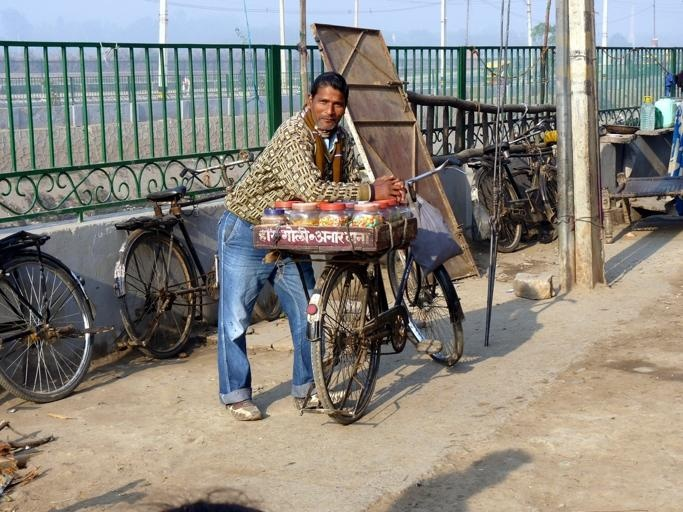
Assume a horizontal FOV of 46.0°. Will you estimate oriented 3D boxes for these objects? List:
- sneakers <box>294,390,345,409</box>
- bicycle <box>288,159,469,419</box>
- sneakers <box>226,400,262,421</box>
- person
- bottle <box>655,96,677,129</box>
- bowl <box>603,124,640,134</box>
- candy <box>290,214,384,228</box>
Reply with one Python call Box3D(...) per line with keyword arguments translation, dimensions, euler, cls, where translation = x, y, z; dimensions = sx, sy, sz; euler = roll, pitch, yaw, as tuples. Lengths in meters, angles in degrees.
Box3D(translation=(-0.165, 1.045, 5.786), dimensions=(0.301, 0.148, 0.179), euler=(-1, -4, 13), cls="sneakers")
Box3D(translation=(0.323, 0.192, 6.207), dimensions=(0.998, 1.386, 2.135), euler=(-2, 13, 23), cls="bicycle")
Box3D(translation=(-0.701, 1.113, 5.821), dimensions=(0.109, 0.128, 0.282), euler=(0, -3, -39), cls="sneakers")
Box3D(translation=(-0.340, -0.050, 5.664), dimensions=(1.178, 2.420, 0.620), euler=(-3, 12, -5), cls="person")
Box3D(translation=(5.994, -2.677, 14.933), dimensions=(0.397, 0.513, 0.378), euler=(-2, 12, 0), cls="bottle")
Box3D(translation=(4.925, -2.250, 14.190), dimensions=(0.539, 0.167, 0.337), euler=(2, 13, 19), cls="bowl")
Box3D(translation=(-0.037, -0.235, 5.181), dimensions=(0.586, 0.086, 0.124), euler=(-2, 13, 2), cls="candy")
